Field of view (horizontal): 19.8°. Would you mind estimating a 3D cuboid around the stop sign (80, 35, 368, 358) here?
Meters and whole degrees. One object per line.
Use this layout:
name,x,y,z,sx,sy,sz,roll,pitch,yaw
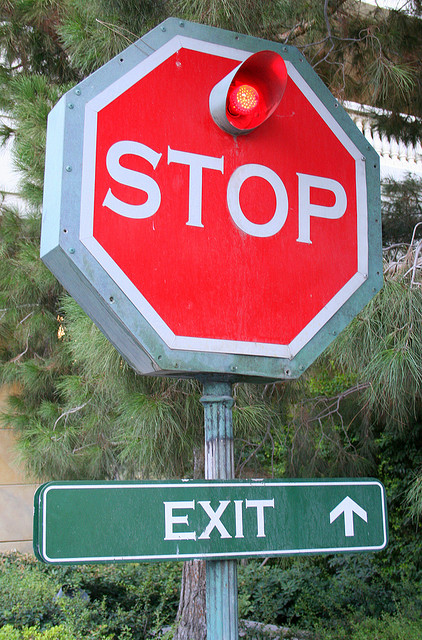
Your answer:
stop sign,0.031,-0.336,3.387,0.606,0.807,0.134,8,-14,-23
